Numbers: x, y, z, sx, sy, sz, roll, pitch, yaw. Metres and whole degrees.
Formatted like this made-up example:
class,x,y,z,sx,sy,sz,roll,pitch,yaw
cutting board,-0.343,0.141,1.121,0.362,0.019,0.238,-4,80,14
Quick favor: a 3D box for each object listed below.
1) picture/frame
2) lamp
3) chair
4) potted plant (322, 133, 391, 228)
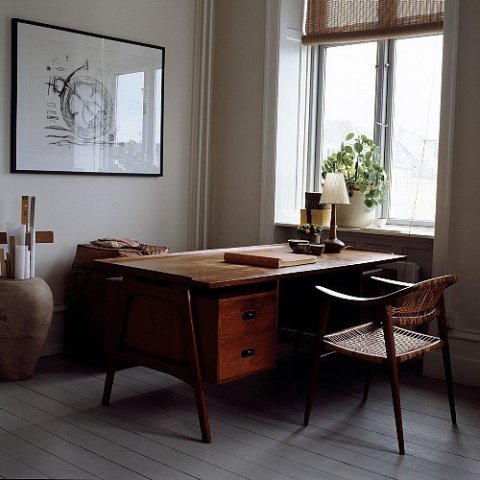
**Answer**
class,x,y,z,sx,sy,sz,roll,pitch,yaw
picture/frame,-1.126,-1.036,3.022,0.043,1.116,1.146,3,4,38
lamp,0.620,-0.169,2.778,0.175,0.510,0.250,1,-1,14
chair,0.682,0.521,1.977,0.542,0.822,0.531,-5,6,-39
potted plant,0.983,-0.475,3.385,0.367,0.648,0.389,-1,16,17
